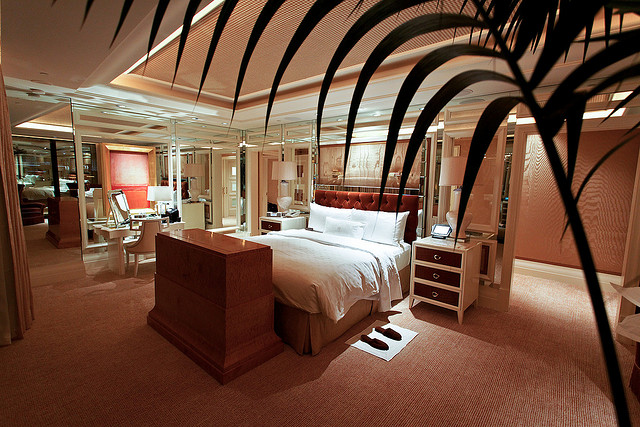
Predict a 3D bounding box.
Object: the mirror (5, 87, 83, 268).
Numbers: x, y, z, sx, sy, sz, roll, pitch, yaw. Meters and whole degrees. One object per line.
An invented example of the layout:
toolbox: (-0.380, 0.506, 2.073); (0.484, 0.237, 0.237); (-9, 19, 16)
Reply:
mirror: (-4.392, -0.536, 5.955); (0.985, 2.594, 0.669); (4, 9, 22)

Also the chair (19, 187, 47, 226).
chair: (-4.863, -0.118, 6.259); (0.444, 0.541, 0.433); (2, 3, 4)

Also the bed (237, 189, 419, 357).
bed: (-0.056, 0.557, 5.707); (2.553, 1.521, 2.626); (6, 13, 33)

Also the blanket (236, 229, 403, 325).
blanket: (-0.251, 0.785, 5.445); (1.691, 0.738, 2.497); (-16, 17, -40)

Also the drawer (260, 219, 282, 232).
drawer: (-0.952, 0.313, 7.147); (0.235, 0.383, 0.416); (-3, 5, -44)

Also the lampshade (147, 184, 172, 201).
lampshade: (-2.777, -0.355, 6.479); (0.297, 0.210, 0.295); (-6, 9, -39)

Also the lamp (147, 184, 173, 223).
lamp: (-2.832, -0.170, 6.626); (0.378, 0.592, 0.352); (-6, 4, -33)

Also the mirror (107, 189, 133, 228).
mirror: (-3.414, -0.089, 6.336); (0.316, 0.580, 0.630); (-4, 9, -29)

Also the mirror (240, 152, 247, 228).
mirror: (-1.784, -0.463, 8.659); (0.194, 1.829, 0.147); (-1, 14, -15)

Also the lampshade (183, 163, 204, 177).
lampshade: (-2.783, -0.926, 8.144); (0.205, 0.275, 0.726); (1, 7, 6)

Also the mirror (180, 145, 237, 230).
mirror: (-2.660, -0.649, 8.748); (0.572, 1.571, 1.706); (9, 11, 29)

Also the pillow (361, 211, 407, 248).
pillow: (0.941, 0.240, 5.888); (0.776, 0.537, 0.274); (7, 4, 30)

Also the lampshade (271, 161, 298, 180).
lampshade: (-0.661, -0.800, 7.099); (0.385, 0.397, 0.383); (-4, 8, -35)
